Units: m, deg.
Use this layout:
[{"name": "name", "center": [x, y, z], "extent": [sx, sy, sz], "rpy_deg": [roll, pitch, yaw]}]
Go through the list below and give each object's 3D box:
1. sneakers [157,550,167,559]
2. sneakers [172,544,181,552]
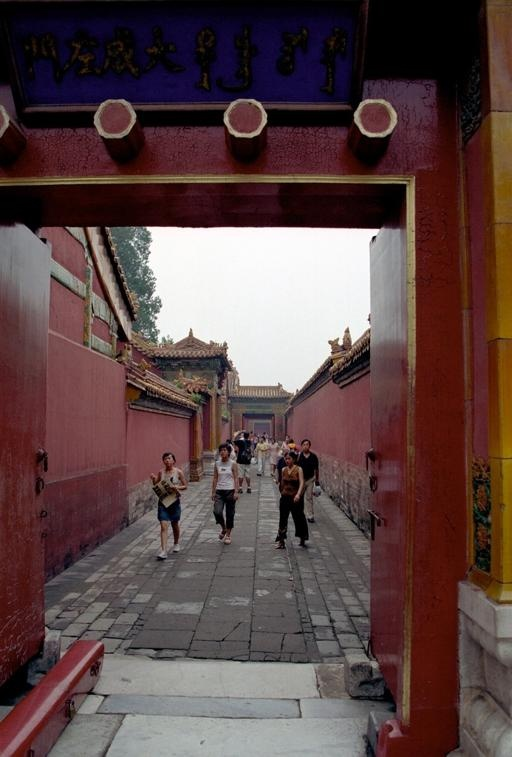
[{"name": "sneakers", "center": [-1.012, 1.923, 5.952], "extent": [0.051, 0.083, 0.167], "rpy_deg": [-1, -15, 4]}, {"name": "sneakers", "center": [-0.917, 1.965, 6.311], "extent": [0.042, 0.065, 0.142], "rpy_deg": [1, -9, -1]}]
